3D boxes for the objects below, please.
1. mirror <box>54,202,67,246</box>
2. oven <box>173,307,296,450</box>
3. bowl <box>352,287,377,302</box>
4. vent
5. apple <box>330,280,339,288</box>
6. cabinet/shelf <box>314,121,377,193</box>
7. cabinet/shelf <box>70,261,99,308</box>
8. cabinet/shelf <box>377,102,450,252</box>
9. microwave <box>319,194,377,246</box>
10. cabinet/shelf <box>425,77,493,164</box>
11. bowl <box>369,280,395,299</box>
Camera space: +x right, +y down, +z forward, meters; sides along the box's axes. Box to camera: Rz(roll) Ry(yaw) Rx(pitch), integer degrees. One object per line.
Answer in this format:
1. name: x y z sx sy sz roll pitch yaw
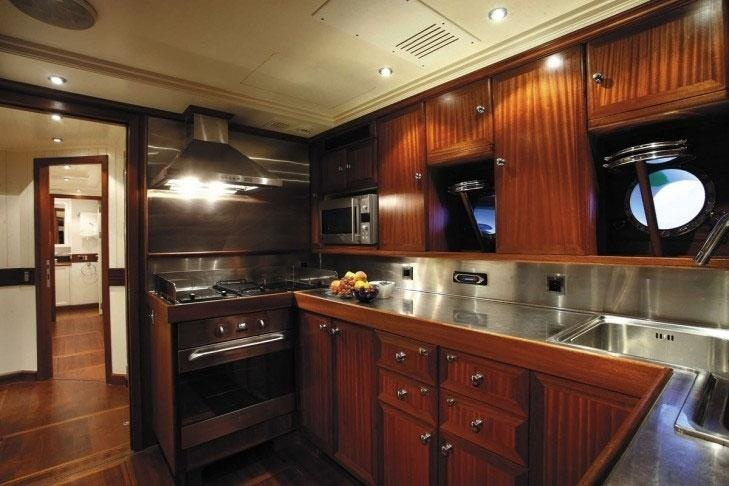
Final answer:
1. mirror: -5.054 -0.328 7.881 0.187 0.657 0.392 -8 17 -31
2. oven: -1.178 1.049 3.818 0.761 1.079 0.967 -2 0 44
3. bowl: -0.003 0.377 3.505 0.184 0.124 0.143 4 14 10
4. vent: -1.285 -0.728 4.138 0.981 0.344 1.023 14 12 40
5. apple: -0.223 0.316 3.651 0.058 0.031 0.057 3 9 11
6. cabinet/shelf: -0.078 -0.762 4.377 0.274 0.550 0.803 -3 -1 -41
7. cabinet/shelf: -4.716 0.696 8.003 0.466 0.728 0.317 -8 17 -32
8. cabinet/shelf: 0.294 -0.521 3.857 0.215 1.173 0.693 -9 18 -36
9. microwave: -0.104 -0.193 4.253 0.424 0.418 0.665 3 -4 -42
10. cabinet/shelf: 0.713 -0.912 3.498 0.274 0.574 0.627 -5 2 -44
11. bowl: 0.142 0.351 3.617 0.143 0.072 0.142 -1 -2 0
